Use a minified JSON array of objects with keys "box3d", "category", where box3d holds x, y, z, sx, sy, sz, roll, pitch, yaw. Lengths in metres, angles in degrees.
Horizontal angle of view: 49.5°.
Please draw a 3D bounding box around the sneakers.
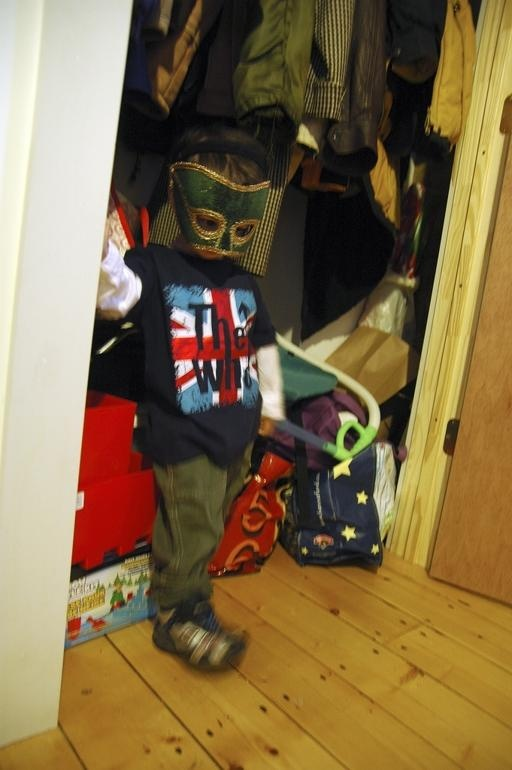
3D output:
[{"box3d":[-0.102,0.417,0.946,0.155,0.065,0.099,12,10,32],"category":"sneakers"}]
